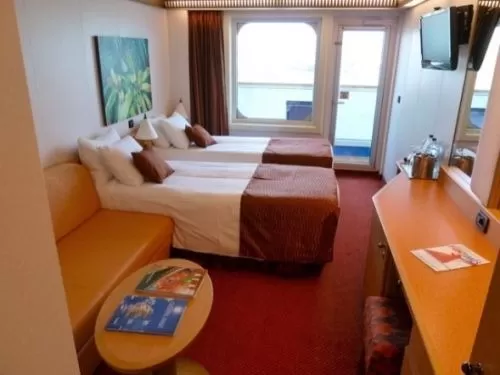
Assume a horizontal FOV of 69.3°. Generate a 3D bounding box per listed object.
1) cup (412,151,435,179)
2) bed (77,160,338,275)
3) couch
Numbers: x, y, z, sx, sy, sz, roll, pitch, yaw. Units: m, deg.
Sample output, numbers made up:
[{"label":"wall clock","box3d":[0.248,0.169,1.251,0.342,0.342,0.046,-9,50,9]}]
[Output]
[{"label":"cup","box3d":[1.454,-0.183,3.027,0.155,0.201,0.220,0,15,2]},{"label":"bed","box3d":[-0.251,0.113,3.298,1.902,0.576,1.177,4,42,6]},{"label":"couch","box3d":[-0.850,0.469,2.224,0.642,0.638,1.179,-2,26,-7]}]
